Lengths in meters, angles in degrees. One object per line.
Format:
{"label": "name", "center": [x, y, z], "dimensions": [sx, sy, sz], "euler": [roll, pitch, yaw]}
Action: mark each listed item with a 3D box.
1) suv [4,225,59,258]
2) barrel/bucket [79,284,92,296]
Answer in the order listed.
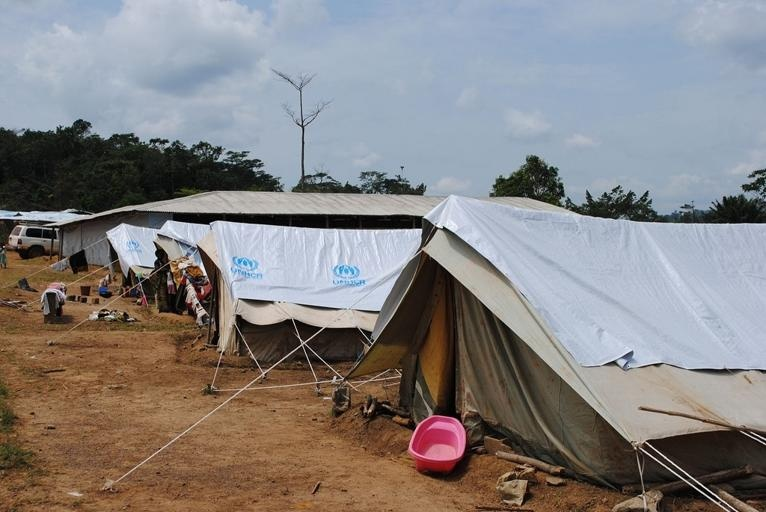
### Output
{"label": "suv", "center": [-14.006, -0.565, 26.781], "dimensions": [2.224, 1.098, 1.241], "euler": [-3, 4, -32]}
{"label": "barrel/bucket", "center": [-7.974, 0.939, 17.900], "dimensions": [0.310, 0.270, 0.357], "euler": [-4, -4, 22]}
